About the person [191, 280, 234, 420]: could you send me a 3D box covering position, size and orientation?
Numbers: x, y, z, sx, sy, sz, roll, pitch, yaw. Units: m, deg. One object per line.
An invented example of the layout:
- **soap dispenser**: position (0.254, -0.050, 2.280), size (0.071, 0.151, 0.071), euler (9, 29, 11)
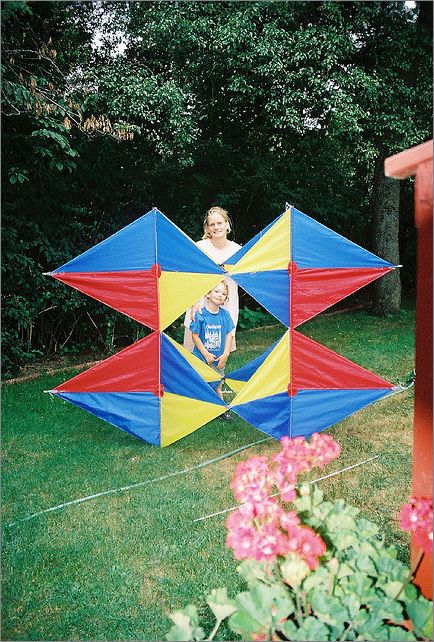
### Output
- **person**: position (-0.012, 0.248, 4.913), size (0.420, 1.195, 0.289), euler (0, 19, 3)

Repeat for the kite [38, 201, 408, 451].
- **kite**: position (-0.082, 0.050, 5.236), size (3.214, 2.092, 0.094), euler (-1, 6, 0)
